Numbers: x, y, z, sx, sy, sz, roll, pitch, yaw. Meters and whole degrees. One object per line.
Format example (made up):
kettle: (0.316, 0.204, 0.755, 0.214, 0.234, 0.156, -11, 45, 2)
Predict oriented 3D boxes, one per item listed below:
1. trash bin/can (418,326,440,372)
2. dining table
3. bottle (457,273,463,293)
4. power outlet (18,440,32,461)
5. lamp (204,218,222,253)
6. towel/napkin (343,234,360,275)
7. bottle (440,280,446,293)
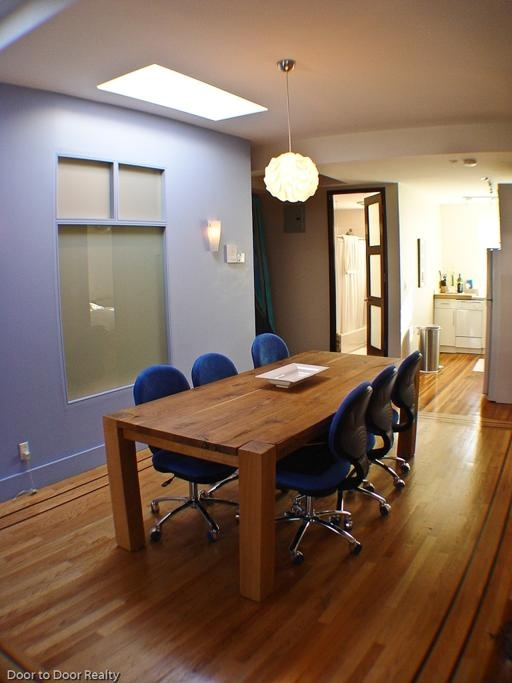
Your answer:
trash bin/can: (2.434, 0.089, 7.045, 0.269, 0.643, 0.273, 0, 7, 17)
dining table: (0.034, 0.658, 2.860, 0.990, 0.754, 1.444, 3, 8, 34)
bottle: (3.572, -1.034, 8.755, 0.110, 0.324, 0.390, 1, 7, 21)
power outlet: (-1.529, 0.733, 3.353, 0.033, 0.144, 0.088, 2, 8, 32)
lamp: (-0.370, -1.004, 4.745, 0.094, 0.312, 0.298, 1, 7, 21)
towel/napkin: (1.653, -1.537, 8.708, 0.068, 0.747, 0.666, 7, 12, 37)
bottle: (3.302, -1.002, 8.846, 0.090, 0.219, 0.255, 1, 7, 20)
